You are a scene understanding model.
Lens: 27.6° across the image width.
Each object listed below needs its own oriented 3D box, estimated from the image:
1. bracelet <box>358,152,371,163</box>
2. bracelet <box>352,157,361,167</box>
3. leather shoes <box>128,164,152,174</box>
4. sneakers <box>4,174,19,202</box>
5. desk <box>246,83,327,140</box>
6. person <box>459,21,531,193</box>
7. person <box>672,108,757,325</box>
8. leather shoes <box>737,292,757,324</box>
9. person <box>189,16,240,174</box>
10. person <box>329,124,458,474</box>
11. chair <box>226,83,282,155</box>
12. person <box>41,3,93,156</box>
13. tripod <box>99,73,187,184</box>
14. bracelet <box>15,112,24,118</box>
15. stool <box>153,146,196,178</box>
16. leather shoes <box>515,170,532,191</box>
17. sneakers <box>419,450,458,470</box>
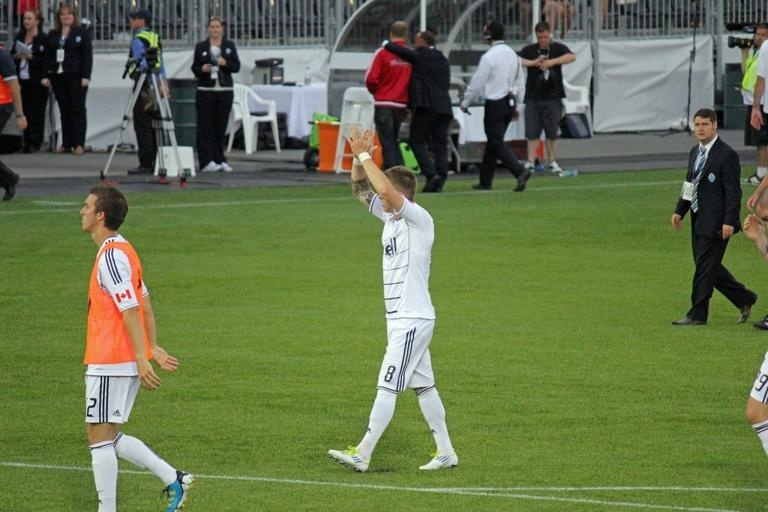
[{"bbox_3d":[-0.175,-0.852,13.649,0.090,0.073,0.093,0,2,11],"label":"bracelet"},{"bbox_3d":[-0.235,-0.837,13.919,0.071,0.058,0.075,3,27,-3],"label":"bracelet"},{"bbox_3d":[-3.820,-1.348,24.379,0.396,0.163,0.145,1,5,-10],"label":"leather shoes"},{"bbox_3d":[-5.054,-0.919,21.073,0.152,0.448,0.189,8,3,17],"label":"sneakers"},{"bbox_3d":[-1.628,-2.830,29.731,1.178,0.548,1.154,-15,25,-37],"label":"desk"},{"bbox_3d":[1.637,-2.162,22.695,0.964,2.416,1.058,0,10,-3],"label":"person"},{"bbox_3d":[3.386,-0.392,15.979,0.835,2.196,0.464,3,10,12],"label":"person"},{"bbox_3d":[3.761,0.540,16.205,0.180,0.413,0.139,9,12,-1],"label":"leather shoes"},{"bbox_3d":[-2.614,-2.456,24.270,0.677,2.418,1.040,-1,10,-6],"label":"person"},{"bbox_3d":[0.174,0.341,13.726,0.953,2.848,1.112,0,10,-1],"label":"person"},{"bbox_3d":[-2.475,-2.552,29.083,0.861,1.192,0.792,-3,6,-44],"label":"chair"},{"bbox_3d":[-5.568,-3.052,27.472,0.848,2.654,1.318,-2,10,-12],"label":"person"},{"bbox_3d":[-3.422,-1.891,23.138,1.178,1.627,1.419,-1,10,-8],"label":"tripod"},{"bbox_3d":[-4.906,-1.884,21.019,0.084,0.094,0.256,-1,11,-11],"label":"bracelet"},{"bbox_3d":[-3.120,-1.431,23.691,0.500,0.418,0.502,-1,4,-14],"label":"stool"},{"bbox_3d":[2.035,-1.104,22.535,0.136,0.416,0.180,3,51,-20],"label":"leather shoes"},{"bbox_3d":[0.500,1.769,13.525,0.395,0.187,0.135,-3,4,-3],"label":"sneakers"}]
